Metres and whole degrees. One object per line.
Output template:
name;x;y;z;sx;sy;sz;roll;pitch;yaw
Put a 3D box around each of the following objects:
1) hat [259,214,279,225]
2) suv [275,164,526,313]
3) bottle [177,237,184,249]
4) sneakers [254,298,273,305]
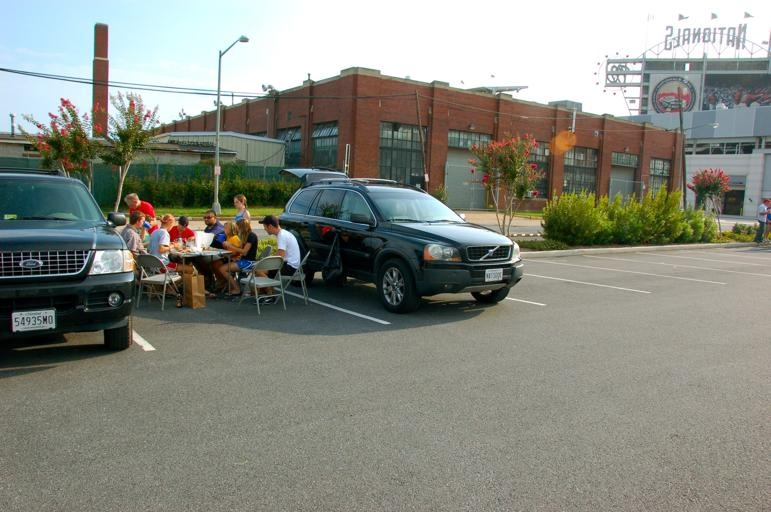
hat;-2.191;-0.682;10.913;0.271;0.195;0.401;-4;15;-21
suv;-0.033;-0.431;11.710;2.261;2.465;5.179;0;5;-41
bottle;-4.077;-0.241;11.435;0.161;0.206;0.465;-1;10;-12
sneakers;-2.296;0.855;10.927;0.356;0.166;0.126;4;-1;6
